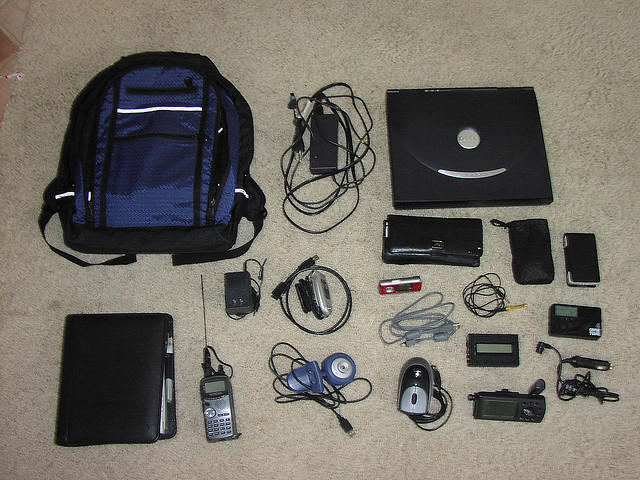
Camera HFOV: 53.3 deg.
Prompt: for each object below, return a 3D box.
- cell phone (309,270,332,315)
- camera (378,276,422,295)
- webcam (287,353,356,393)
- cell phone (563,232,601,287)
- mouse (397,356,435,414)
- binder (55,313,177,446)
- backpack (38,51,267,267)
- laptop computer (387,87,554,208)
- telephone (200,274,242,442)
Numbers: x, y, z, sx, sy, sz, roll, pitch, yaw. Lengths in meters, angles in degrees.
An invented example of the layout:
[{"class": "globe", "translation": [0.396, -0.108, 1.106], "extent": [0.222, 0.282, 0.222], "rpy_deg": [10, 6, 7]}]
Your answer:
[{"class": "cell phone", "translation": [0.009, 0.211, 2.566], "extent": [0.045, 0.109, 0.152], "rpy_deg": [-17, 70, 25]}, {"class": "camera", "translation": [0.328, 0.191, 2.586], "extent": [0.162, 0.038, 0.071], "rpy_deg": [-4, 98, -2]}, {"class": "webcam", "translation": [0.005, 0.531, 2.513], "extent": [0.257, 0.086, 0.131], "rpy_deg": [-10, 83, -5]}, {"class": "cell phone", "translation": [1.075, 0.074, 2.576], "extent": [0.143, 0.051, 0.218], "rpy_deg": [0, 81, 0]}, {"class": "mouse", "translation": [0.371, 0.563, 2.478], "extent": [0.133, 0.061, 0.204], "rpy_deg": [1, 80, 17]}, {"class": "binder", "translation": [-0.786, 0.543, 2.550], "extent": [0.486, 0.111, 0.477], "rpy_deg": [-3, 87, -2]}, {"class": "backpack", "translation": [-0.661, -0.315, 2.414], "extent": [0.953, 0.281, 0.875], "rpy_deg": [1, 88, 0]}, {"class": "laptop computer", "translation": [0.621, -0.395, 2.669], "extent": [0.649, 0.105, 0.509], "rpy_deg": [-3, 73, 2]}, {"class": "telephone", "translation": [-0.408, 0.556, 2.560], "extent": [0.123, 0.106, 0.486], "rpy_deg": [-8, 73, 1]}]
